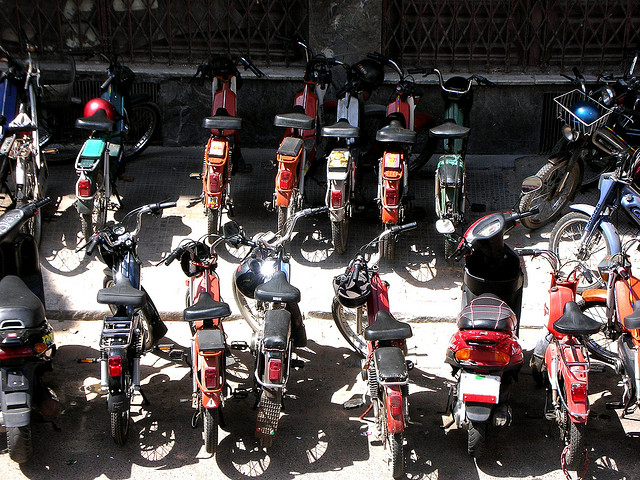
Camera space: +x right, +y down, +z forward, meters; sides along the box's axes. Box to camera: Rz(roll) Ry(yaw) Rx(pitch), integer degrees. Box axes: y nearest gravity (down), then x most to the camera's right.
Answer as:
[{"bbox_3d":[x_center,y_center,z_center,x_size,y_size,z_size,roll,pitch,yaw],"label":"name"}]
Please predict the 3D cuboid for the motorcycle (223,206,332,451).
[{"bbox_3d":[-0.343,0.674,5.227,0.927,1.139,1.834,-1,44,-2],"label":"motorcycle"}]

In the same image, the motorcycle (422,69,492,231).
[{"bbox_3d":[1.449,-1.156,7.271,0.878,1.258,2.127,0,38,8],"label":"motorcycle"}]

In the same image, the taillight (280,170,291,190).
[{"bbox_3d":[-0.368,-0.639,6.633,0.105,0.199,0.050,2,12,-3],"label":"taillight"}]

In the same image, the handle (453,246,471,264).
[{"bbox_3d":[1.171,0.117,5.162,0.089,0.162,0.091,44,0,17],"label":"handle"}]

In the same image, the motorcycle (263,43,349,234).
[{"bbox_3d":[-0.184,-1.100,7.239,0.937,1.324,2.270,7,53,10],"label":"motorcycle"}]

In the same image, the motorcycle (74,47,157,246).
[{"bbox_3d":[-2.603,-1.460,8.271,1.039,1.512,2.389,-3,-15,-25],"label":"motorcycle"}]

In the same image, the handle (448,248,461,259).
[{"bbox_3d":[1.282,0.121,5.994,0.039,0.129,0.023,42,3,-20],"label":"handle"}]

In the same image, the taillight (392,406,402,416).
[{"bbox_3d":[0.536,1.210,4.381,0.053,0.107,0.069,0,5,12],"label":"taillight"}]

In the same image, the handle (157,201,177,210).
[{"bbox_3d":[-1.270,-0.290,5.223,0.193,0.055,0.058,-4,7,-13],"label":"handle"}]

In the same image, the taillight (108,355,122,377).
[{"bbox_3d":[-1.521,0.943,4.654,0.085,0.153,0.056,0,12,-11],"label":"taillight"}]

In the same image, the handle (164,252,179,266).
[{"bbox_3d":[-1.239,0.150,5.224,0.101,0.130,0.219,-4,14,-26],"label":"handle"}]

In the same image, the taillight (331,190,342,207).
[{"bbox_3d":[0.172,-0.427,6.443,0.098,0.171,0.046,2,12,0],"label":"taillight"}]

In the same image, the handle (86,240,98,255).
[{"bbox_3d":[-1.852,0.067,5.102,0.065,0.116,0.118,1,12,-7],"label":"handle"}]

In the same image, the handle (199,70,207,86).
[{"bbox_3d":[-1.401,-1.953,7.534,0.091,0.175,0.232,0,12,-10],"label":"handle"}]

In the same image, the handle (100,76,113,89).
[{"bbox_3d":[-2.534,-1.878,7.466,0.130,0.150,0.162,-2,13,-20],"label":"handle"}]

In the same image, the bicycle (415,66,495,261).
[{"bbox_3d":[1.648,-1.055,7.175,0.813,1.294,2.326,1,41,8],"label":"bicycle"}]

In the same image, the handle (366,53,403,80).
[{"bbox_3d":[0.826,-2.098,7.554,0.552,0.305,0.303,12,15,37],"label":"handle"}]

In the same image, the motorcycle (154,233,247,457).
[{"bbox_3d":[-0.940,0.711,5.410,0.727,1.396,2.338,-1,17,-13],"label":"motorcycle"}]

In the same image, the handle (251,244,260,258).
[{"bbox_3d":[-0.557,0.094,5.398,0.062,0.118,0.031,6,18,1],"label":"handle"}]

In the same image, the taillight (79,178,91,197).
[{"bbox_3d":[-2.440,-0.539,6.514,0.108,0.174,0.067,0,12,-9],"label":"taillight"}]

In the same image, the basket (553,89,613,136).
[{"bbox_3d":[3.081,-1.498,7.291,0.651,0.234,0.456,42,56,17],"label":"basket"}]

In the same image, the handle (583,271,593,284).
[{"bbox_3d":[2.466,0.345,5.765,0.035,0.136,0.128,-31,52,4],"label":"handle"}]

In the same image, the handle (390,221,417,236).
[{"bbox_3d":[0.663,-0.103,5.070,0.183,0.106,0.225,3,12,1],"label":"handle"}]

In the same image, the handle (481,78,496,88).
[{"bbox_3d":[2.009,-1.853,7.427,0.172,0.045,0.121,20,11,-30],"label":"handle"}]

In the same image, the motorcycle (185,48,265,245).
[{"bbox_3d":[-1.154,-1.298,7.512,0.724,1.528,2.674,2,35,-6],"label":"motorcycle"}]
